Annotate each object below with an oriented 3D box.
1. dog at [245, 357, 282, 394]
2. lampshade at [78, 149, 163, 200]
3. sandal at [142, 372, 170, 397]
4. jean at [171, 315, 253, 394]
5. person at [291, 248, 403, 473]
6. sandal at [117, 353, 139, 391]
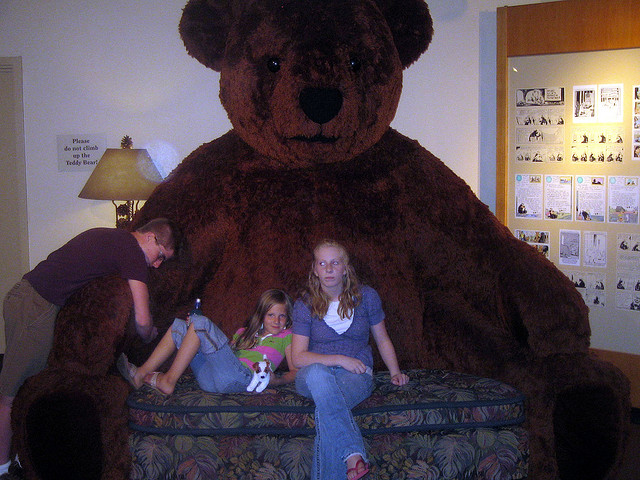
[{"bbox_3d":[-0.255,0.574,2.378,0.083,0.122,0.272,8,3,-2],"label":"dog"},{"bbox_3d":[-1.116,-0.356,3.118,0.510,0.304,0.482,2,1,-26],"label":"lampshade"},{"bbox_3d":[-0.699,0.605,2.275,0.150,0.043,0.058,32,-1,4],"label":"sandal"},{"bbox_3d":[-0.442,0.475,2.341,0.200,0.373,0.122,-12,-2,3],"label":"jean"},{"bbox_3d":[0.102,0.555,2.289,0.522,0.345,0.823,4,49,4],"label":"person"},{"bbox_3d":[-0.793,0.538,2.232,0.067,0.171,0.049,-17,3,40],"label":"sandal"}]
